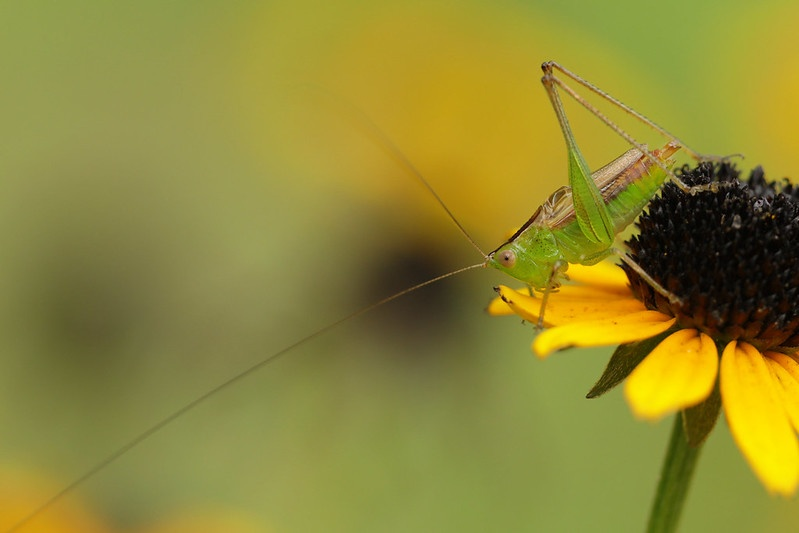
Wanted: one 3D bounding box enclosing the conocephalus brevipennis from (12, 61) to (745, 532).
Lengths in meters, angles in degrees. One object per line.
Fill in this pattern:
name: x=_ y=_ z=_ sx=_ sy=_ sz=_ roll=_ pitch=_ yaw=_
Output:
conocephalus brevipennis: x=0.429 y=0.442 z=5.002 sx=4.616 sy=1.854 sz=1.663 roll=-30 pitch=-72 yaw=6
